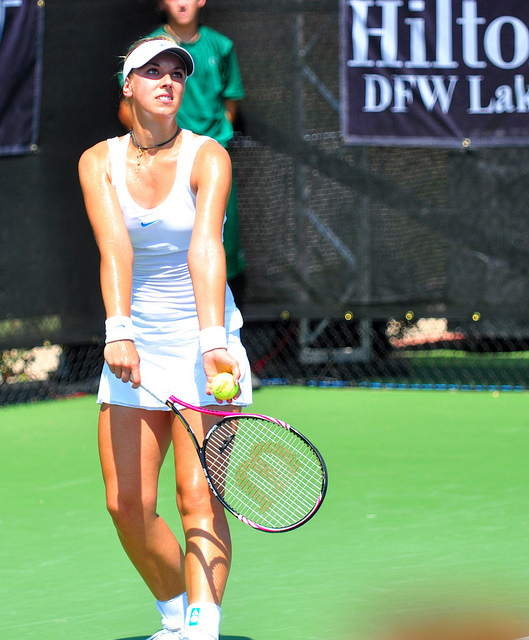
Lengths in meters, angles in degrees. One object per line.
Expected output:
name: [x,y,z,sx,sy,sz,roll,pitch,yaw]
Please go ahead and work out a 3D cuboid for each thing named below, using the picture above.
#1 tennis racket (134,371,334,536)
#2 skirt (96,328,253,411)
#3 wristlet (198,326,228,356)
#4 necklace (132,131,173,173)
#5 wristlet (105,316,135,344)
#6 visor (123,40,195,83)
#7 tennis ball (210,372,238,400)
tennis racket: [-0.169,0.276,1.905,0.036,0.205,0.707,-28,33,-10]
skirt: [-0.228,0.140,1.818,0.340,0.182,0.078,-1,6,2]
wristlet: [-0.115,0.047,1.628,0.060,0.044,0.057,-5,-18,-4]
necklace: [-0.283,-0.404,1.826,0.105,0.096,0.091,-1,8,13]
wristlet: [-0.324,0.022,1.673,0.063,0.044,0.059,0,-8,-3]
visor: [-0.276,-0.646,1.827,0.187,0.058,0.130,-4,23,13]
tennis ball: [-0.084,0.138,1.585,0.056,0.052,0.053,-2,-30,-1]
